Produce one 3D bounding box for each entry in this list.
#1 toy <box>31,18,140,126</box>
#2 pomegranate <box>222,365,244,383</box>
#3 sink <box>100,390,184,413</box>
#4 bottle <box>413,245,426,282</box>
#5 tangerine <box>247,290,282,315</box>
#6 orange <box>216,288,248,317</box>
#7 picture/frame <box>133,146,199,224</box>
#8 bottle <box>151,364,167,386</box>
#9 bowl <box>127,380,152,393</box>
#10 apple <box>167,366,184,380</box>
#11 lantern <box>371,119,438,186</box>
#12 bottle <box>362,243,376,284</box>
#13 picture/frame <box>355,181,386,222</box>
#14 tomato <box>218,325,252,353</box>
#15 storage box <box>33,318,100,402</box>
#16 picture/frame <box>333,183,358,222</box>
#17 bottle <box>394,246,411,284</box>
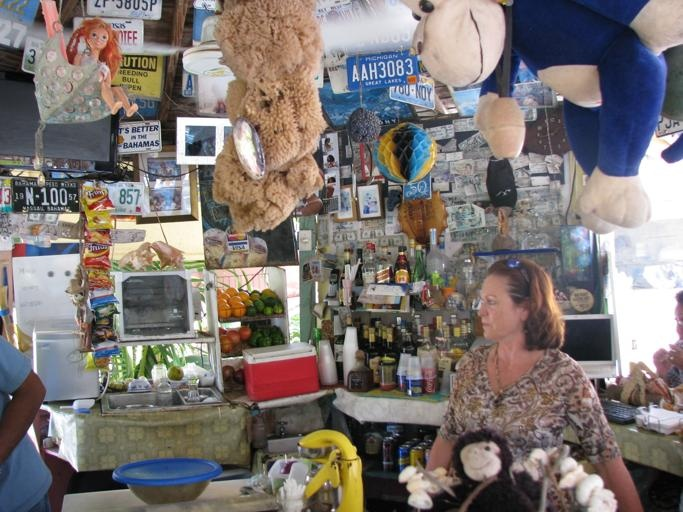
[{"bbox_3d":[-1.193,-0.870,2.938,0.418,0.495,0.305,-2,4,-26],"label":"toy"},{"bbox_3d":[-0.856,0.925,4.947,0.143,0.130,0.163,-3,5,-30],"label":"pomegranate"},{"bbox_3d":[-1.470,1.044,4.583,0.315,0.112,0.269,0,-1,-19],"label":"sink"},{"bbox_3d":[0.571,0.045,4.648,0.087,0.243,0.226,0,4,7],"label":"bottle"},{"bbox_3d":[-0.604,0.384,5.038,0.197,0.077,0.199,-2,6,13],"label":"tangerine"},{"bbox_3d":[-0.851,0.373,4.928,0.222,0.088,0.222,4,11,-21],"label":"orange"},{"bbox_3d":[-1.547,-0.636,5.582,0.644,0.733,0.050,-3,3,-3],"label":"picture/frame"},{"bbox_3d":[-1.359,0.903,4.815,0.115,0.168,0.160,1,-5,-13],"label":"bottle"},{"bbox_3d":[-1.489,0.958,4.665,0.130,0.095,0.054,-3,3,-20],"label":"bowl"},{"bbox_3d":[-1.296,0.914,4.925,0.096,0.099,0.098,2,0,27],"label":"apple"},{"bbox_3d":[0.386,-0.638,3.973,0.357,0.287,0.358,5,-33,-3],"label":"lantern"},{"bbox_3d":[0.202,0.059,4.736,0.100,0.321,0.263,0,4,2],"label":"bottle"},{"bbox_3d":[0.235,-0.431,4.985,0.287,0.355,0.041,-6,-8,34],"label":"picture/frame"},{"bbox_3d":[-0.845,0.663,4.999,0.216,0.209,0.212,-3,4,2],"label":"tomato"},{"bbox_3d":[-1.940,0.761,4.534,0.445,0.582,0.816,-1,-1,-21],"label":"storage box"},{"bbox_3d":[0.037,-0.440,5.109,0.040,0.399,0.297,-3,4,-44],"label":"picture/frame"},{"bbox_3d":[0.443,0.057,4.622,0.122,0.260,0.296,0,4,5],"label":"bottle"}]
